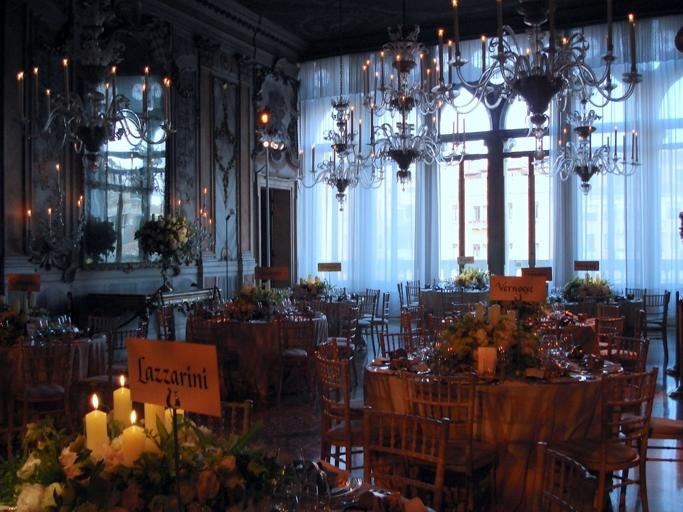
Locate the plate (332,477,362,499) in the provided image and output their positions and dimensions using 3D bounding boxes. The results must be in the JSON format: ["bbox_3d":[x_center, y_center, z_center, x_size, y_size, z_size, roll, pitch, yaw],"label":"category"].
[{"bbox_3d":[0.047,1.367,4.084,0.114,0.059,0.260,-1,-2,40],"label":"plate"}]
